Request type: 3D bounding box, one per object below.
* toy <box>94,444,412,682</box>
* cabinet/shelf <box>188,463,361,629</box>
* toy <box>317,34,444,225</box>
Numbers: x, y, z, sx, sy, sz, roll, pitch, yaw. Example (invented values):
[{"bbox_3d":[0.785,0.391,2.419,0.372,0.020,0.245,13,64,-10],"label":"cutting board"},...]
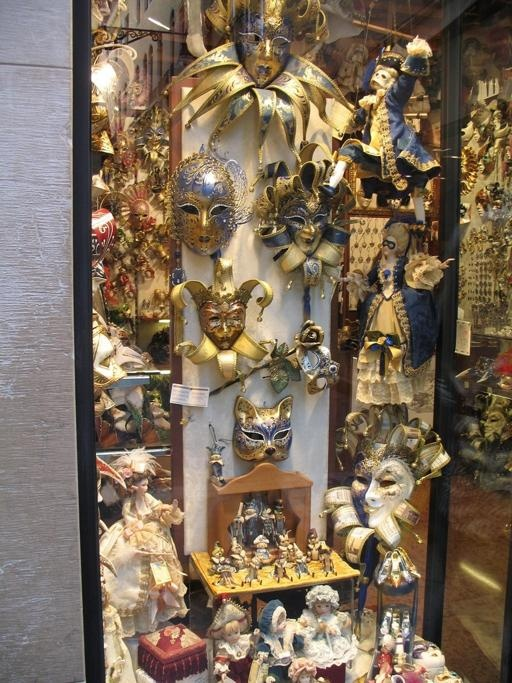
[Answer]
[{"bbox_3d":[-0.050,0.445,1.892,0.807,0.539,0.542,-3,8,-22],"label":"toy"},{"bbox_3d":[0.025,0.553,2.247,0.297,0.336,0.218,-2,-28,37],"label":"cabinet/shelf"},{"bbox_3d":[0.370,-0.607,2.179,0.321,0.498,0.216,3,6,3],"label":"toy"}]
